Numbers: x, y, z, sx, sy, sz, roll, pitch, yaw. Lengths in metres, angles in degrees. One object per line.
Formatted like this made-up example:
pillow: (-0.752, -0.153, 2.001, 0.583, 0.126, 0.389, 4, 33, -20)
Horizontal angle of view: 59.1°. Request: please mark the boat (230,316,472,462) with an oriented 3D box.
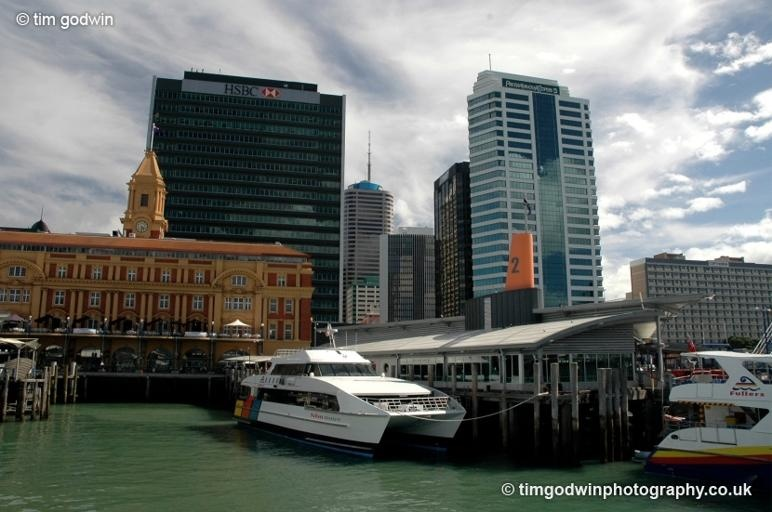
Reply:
boat: (-2.886, 9.741, 46.510, 5.352, 6.667, 14.757, 11, -14, -43)
